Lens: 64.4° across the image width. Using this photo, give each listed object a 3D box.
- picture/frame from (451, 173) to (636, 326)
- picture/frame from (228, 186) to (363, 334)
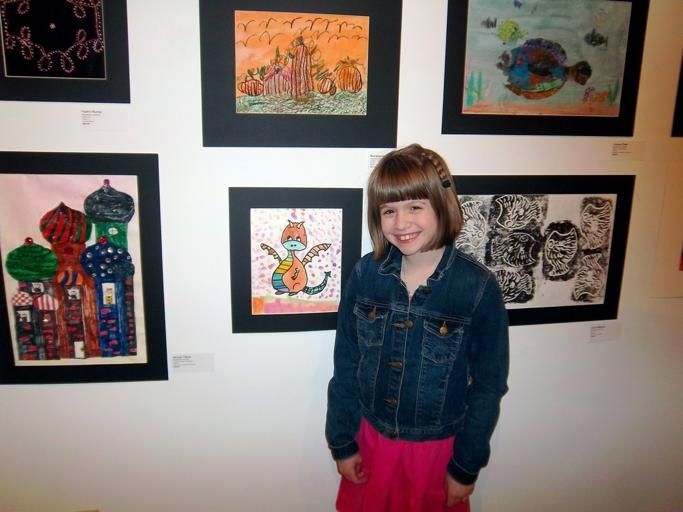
[{"bbox_3d":[0.702,-0.044,1.944,0.538,0.399,0.013,-2,11,-7],"label":"picture/frame"},{"bbox_3d":[-0.171,-0.006,1.881,0.489,0.537,0.026,-1,11,-5],"label":"picture/frame"}]
